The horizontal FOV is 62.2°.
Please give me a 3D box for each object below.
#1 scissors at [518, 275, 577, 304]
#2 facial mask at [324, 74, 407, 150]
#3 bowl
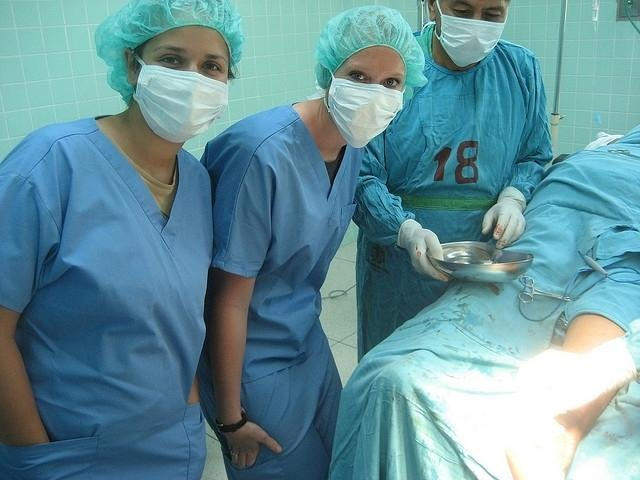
[{"bbox_3d":[0.698,0.152,1.666,0.133,0.085,0.153,1,15,3],"label":"scissors"},{"bbox_3d":[0.127,-0.372,1.508,0.171,0.123,0.197,5,42,-17],"label":"facial mask"},{"bbox_3d":[0.504,0.025,1.735,0.348,0.123,0.365,2,12,-1],"label":"bowl"}]
